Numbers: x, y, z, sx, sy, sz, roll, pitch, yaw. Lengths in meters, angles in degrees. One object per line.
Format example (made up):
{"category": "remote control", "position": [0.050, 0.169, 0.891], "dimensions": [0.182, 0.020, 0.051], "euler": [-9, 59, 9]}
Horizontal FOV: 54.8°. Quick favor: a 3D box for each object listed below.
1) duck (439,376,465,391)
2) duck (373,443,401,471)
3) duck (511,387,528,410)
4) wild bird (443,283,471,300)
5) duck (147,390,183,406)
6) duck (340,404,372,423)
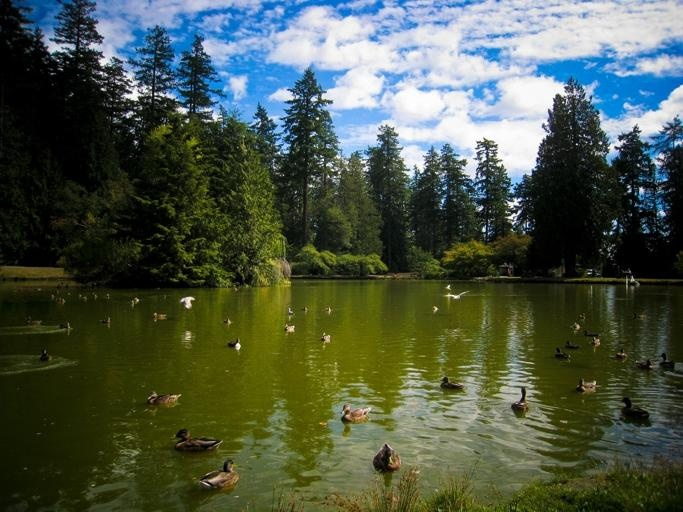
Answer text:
{"category": "duck", "position": [3.951, 4.611, 23.437], "dimensions": [0.708, 0.467, 0.395], "euler": [29, 10, 26]}
{"category": "duck", "position": [1.324, 5.790, 19.019], "dimensions": [0.856, 0.704, 0.562], "euler": [0, -2, -7]}
{"category": "duck", "position": [5.963, 4.788, 21.967], "dimensions": [0.418, 0.570, 0.838], "euler": [0, 4, 30]}
{"category": "wild bird", "position": [9.801, 3.324, 56.826], "dimensions": [1.524, 0.740, 1.709], "euler": [0, -22, 18]}
{"category": "duck", "position": [-6.011, 4.746, 22.119], "dimensions": [1.238, 0.416, 0.518], "euler": [-1, 28, -4]}
{"category": "duck", "position": [0.453, 5.057, 21.254], "dimensions": [0.845, 0.593, 0.467], "euler": [4, 0, -16]}
